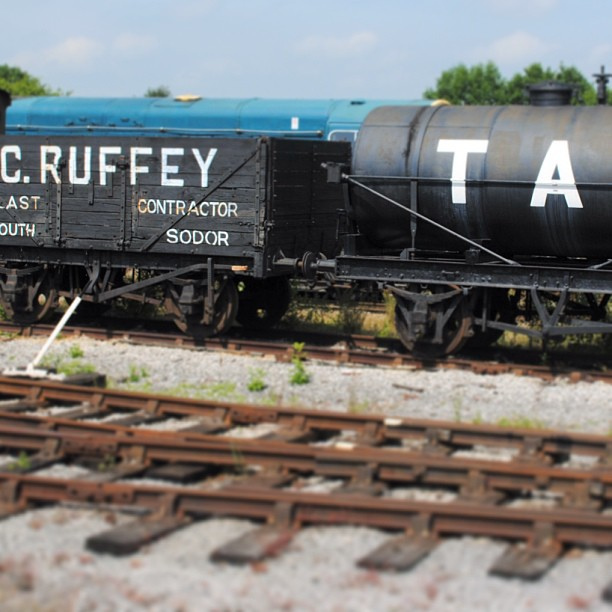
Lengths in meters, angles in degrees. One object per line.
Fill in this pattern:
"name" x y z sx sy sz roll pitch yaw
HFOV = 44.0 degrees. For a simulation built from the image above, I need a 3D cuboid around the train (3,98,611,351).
"train" 0.025 -1.476 12.168 9.378 3.751 4.210 4 15 22
